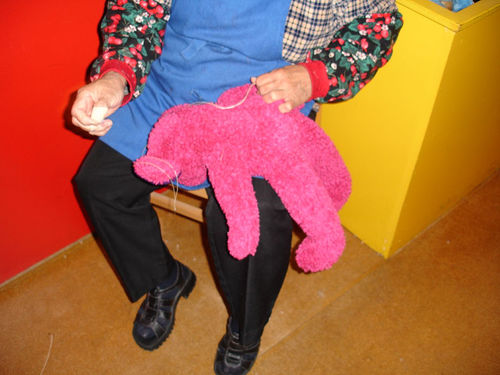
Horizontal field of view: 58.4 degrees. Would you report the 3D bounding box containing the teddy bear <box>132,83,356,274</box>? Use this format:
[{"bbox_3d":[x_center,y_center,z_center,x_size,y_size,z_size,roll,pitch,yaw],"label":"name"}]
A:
[{"bbox_3d":[0.002,-0.009,1.233,0.560,0.464,0.316,16,46,17],"label":"teddy bear"}]

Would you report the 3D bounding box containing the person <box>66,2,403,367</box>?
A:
[{"bbox_3d":[-0.050,-0.004,1.376,0.593,1.085,0.637,20,58,-5],"label":"person"}]
